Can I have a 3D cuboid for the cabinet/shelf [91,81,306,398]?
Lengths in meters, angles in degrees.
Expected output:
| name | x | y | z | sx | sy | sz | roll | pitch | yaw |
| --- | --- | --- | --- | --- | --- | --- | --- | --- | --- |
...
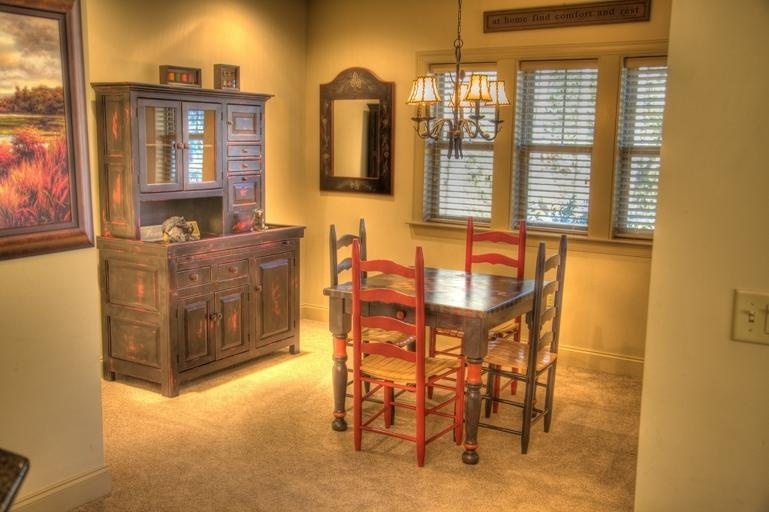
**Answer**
| name | x | y | z | sx | sy | sz | roll | pitch | yaw |
| --- | --- | --- | --- | --- | --- | --- | --- | --- | --- |
| cabinet/shelf | -1.626 | -0.208 | 4.857 | 0.877 | 2.395 | 1.521 | 12 | 17 | 38 |
